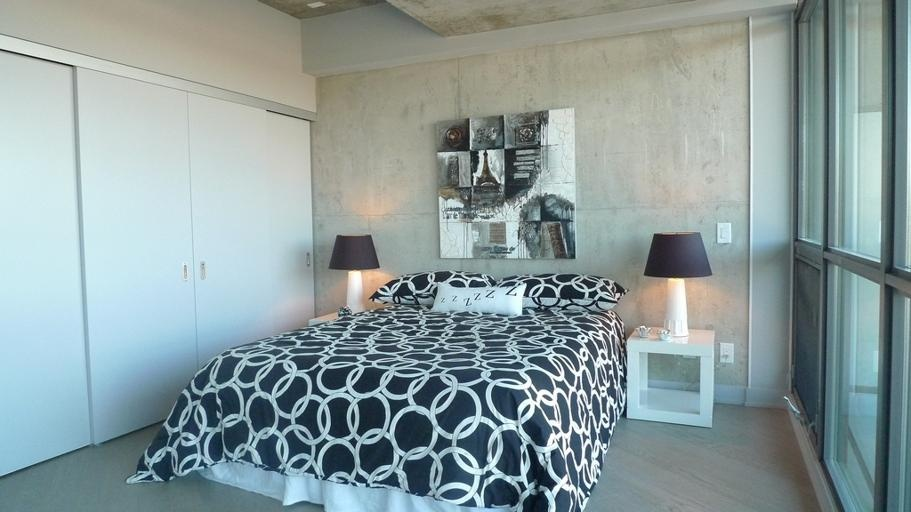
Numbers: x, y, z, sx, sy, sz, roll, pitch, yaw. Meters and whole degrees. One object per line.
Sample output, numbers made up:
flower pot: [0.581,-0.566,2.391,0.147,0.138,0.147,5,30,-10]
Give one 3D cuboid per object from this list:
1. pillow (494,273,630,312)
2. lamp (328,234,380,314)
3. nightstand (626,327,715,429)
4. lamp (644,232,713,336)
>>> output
pillow: [1.039,0.321,5.557,1.008,0.357,0.277,-2,5,11]
lamp: [-0.940,0.090,6.478,0.518,0.732,0.499,-1,26,28]
nightstand: [1.941,1.075,5.548,0.859,0.756,0.857,-1,-4,25]
lamp: [1.975,0.245,5.334,0.480,0.918,0.347,-4,4,-24]
